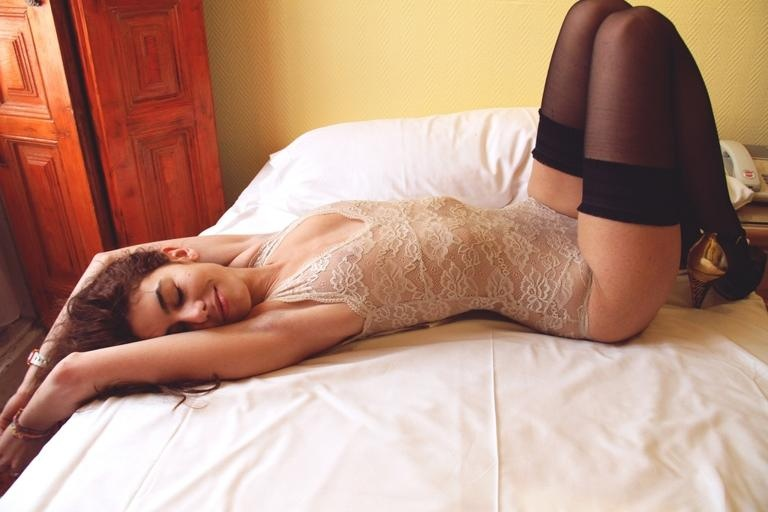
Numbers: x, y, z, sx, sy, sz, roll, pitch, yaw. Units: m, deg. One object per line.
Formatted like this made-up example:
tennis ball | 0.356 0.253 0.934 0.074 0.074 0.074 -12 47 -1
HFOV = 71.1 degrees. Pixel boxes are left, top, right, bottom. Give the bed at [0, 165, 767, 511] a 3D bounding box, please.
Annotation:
bed | 0.097 0.067 1.970 2.375 1.052 0.743 -6 39 -6

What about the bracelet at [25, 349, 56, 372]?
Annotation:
bracelet | -0.989 0.305 1.564 0.068 0.048 0.073 -5 -15 15

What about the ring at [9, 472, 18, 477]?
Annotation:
ring | -0.984 0.581 1.426 0.013 0.003 0.012 12 51 -15
